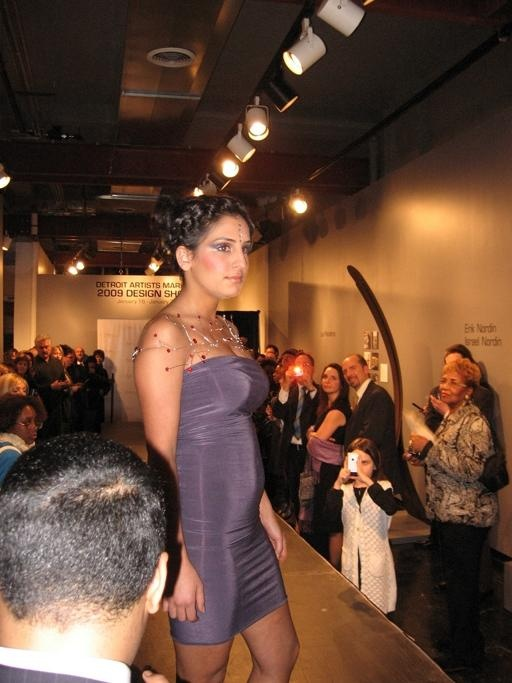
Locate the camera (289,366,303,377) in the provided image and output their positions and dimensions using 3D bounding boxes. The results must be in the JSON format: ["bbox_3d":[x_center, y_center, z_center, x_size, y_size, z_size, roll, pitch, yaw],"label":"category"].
[{"bbox_3d":[0.350,0.255,4.599,0.097,0.086,0.026,-5,-26,19],"label":"camera"}]
